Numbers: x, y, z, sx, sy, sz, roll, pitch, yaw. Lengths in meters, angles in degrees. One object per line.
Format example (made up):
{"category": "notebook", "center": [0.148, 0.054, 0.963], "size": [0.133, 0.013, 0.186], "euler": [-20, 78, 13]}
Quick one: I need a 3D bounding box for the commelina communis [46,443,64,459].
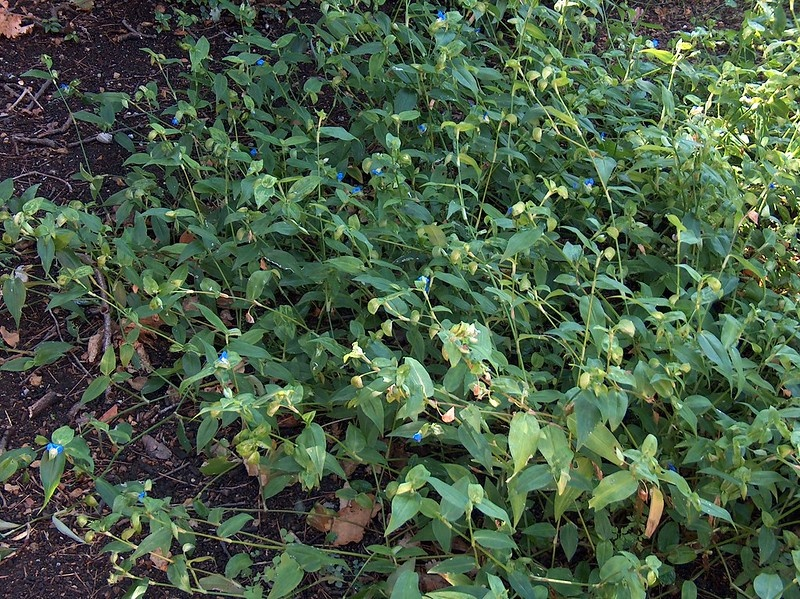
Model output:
{"category": "commelina communis", "center": [-1.397, 0.611, 2.486], "size": [0.054, 0.066, 0.034], "euler": [14, 35, -9]}
